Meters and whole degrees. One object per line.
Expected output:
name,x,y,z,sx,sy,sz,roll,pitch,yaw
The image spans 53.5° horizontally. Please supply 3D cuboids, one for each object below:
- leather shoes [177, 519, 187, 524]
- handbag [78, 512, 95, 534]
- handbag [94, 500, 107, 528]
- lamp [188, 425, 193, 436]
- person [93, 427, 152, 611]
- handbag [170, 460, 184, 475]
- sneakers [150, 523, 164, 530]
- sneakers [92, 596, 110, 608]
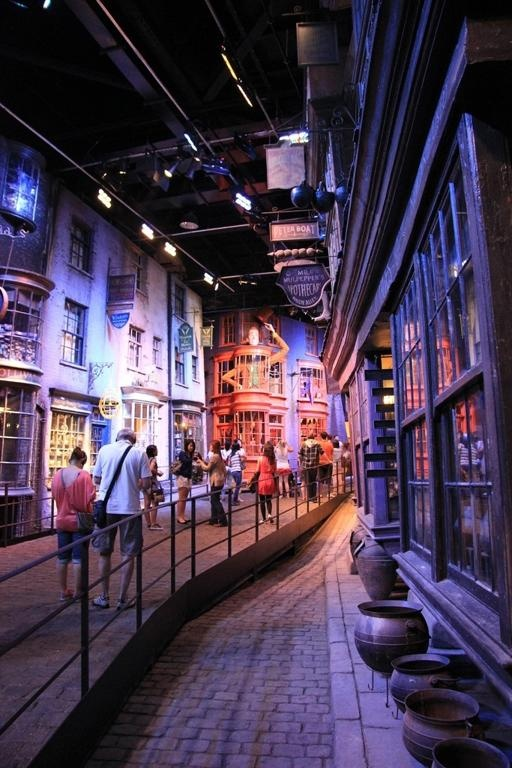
leather shoes,-1.490,2.789,10.318,0.106,0.131,0.306,4,-13,-29
handbag,-1.703,1.397,5.106,0.167,0.230,0.150,1,-6,-21
handbag,-1.545,1.293,5.031,0.131,0.270,0.121,-1,-5,-1
lamp,-2.708,1.960,20.955,0.113,0.463,0.471,-3,-6,12
person,-1.305,1.305,4.957,0.544,1.730,1.840,0,-6,-15
handbag,-1.656,1.709,10.374,0.226,0.370,0.343,1,1,9
sneakers,-1.932,2.782,9.917,0.312,0.163,0.122,-1,-7,21
sneakers,-1.414,2.008,4.708,0.087,0.113,0.237,14,-18,-39
